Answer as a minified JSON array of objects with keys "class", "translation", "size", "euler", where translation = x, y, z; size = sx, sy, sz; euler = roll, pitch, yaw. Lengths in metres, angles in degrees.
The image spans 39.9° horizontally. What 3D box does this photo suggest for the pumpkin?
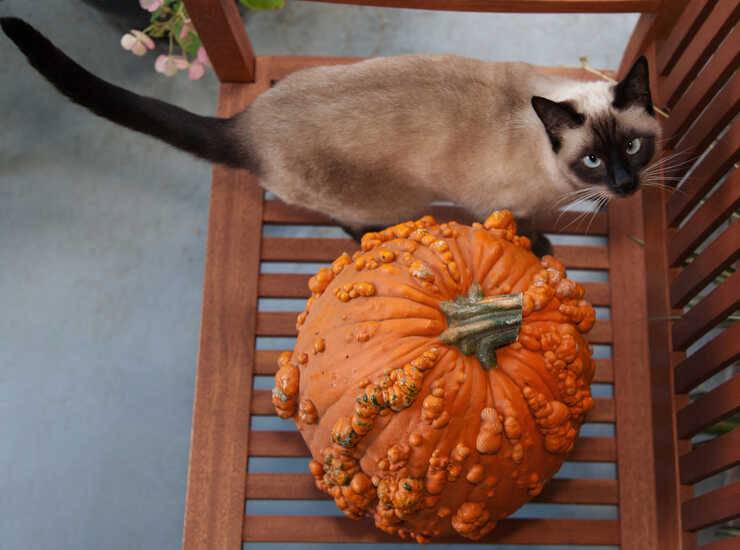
[{"class":"pumpkin","translation":[0.117,0.190,2.051],"size":[0.564,0.527,0.655],"euler":[2,78,-6]}]
